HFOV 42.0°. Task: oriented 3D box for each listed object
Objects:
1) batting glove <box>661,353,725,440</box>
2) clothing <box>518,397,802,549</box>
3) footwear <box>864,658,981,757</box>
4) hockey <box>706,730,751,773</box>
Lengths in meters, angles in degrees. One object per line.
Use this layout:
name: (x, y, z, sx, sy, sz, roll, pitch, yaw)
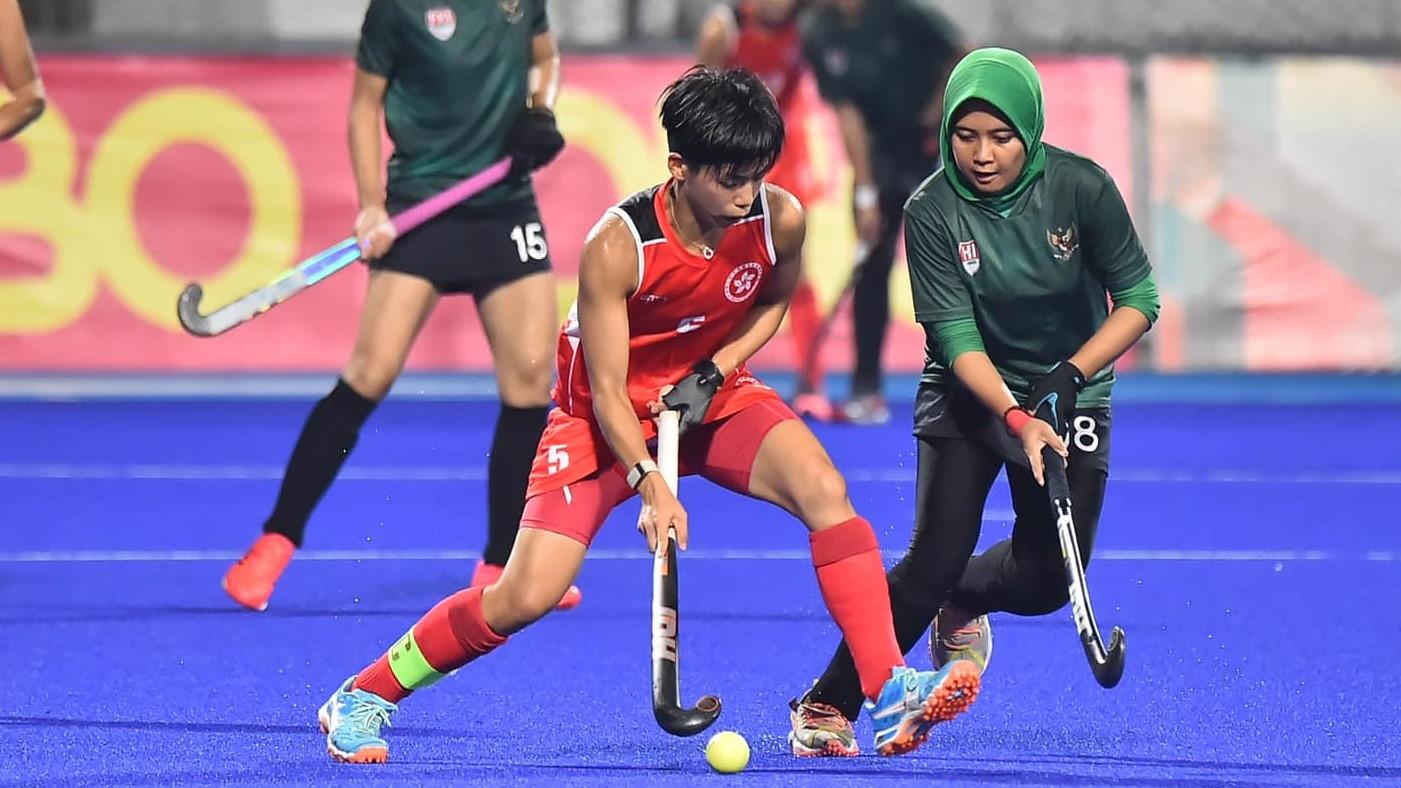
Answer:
batting glove: (-0.015, 0.013, 8.087, 0.345, 0.194, 0.147, -49, 37, -18)
clothing: (-0.255, 0.344, 8.115, 1.219, 0.340, 0.647, -20, 43, -11)
footwear: (0.968, 1.322, 7.926, 0.248, 0.650, 0.317, 10, 45, -34)
hockey: (0.127, 1.525, 7.820, 0.171, 0.171, 0.094, 10, 1, -4)
